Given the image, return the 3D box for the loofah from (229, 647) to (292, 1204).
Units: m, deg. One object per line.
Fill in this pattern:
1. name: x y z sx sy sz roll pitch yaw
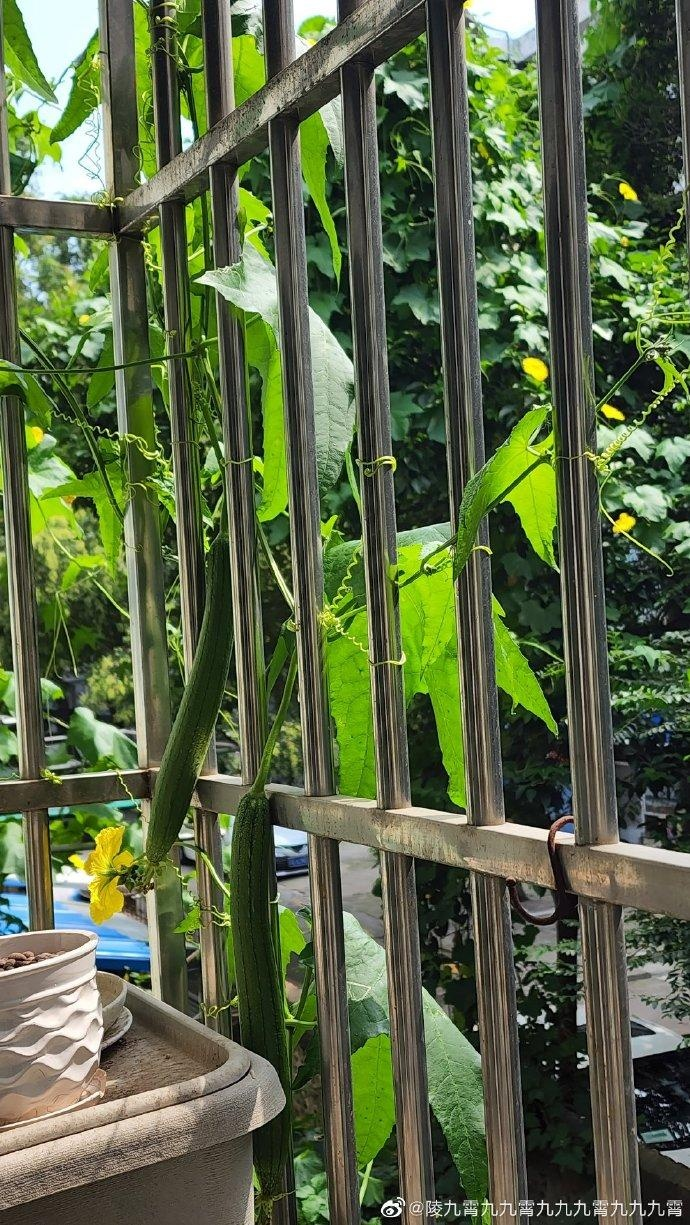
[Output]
1. loofah: -0.078 0.262 1.221 0.075 0.465 0.049 2 -5 -34

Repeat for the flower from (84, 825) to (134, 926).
1. flower: -0.241 0.270 1.435 0.034 0.094 0.088 13 -19 0
